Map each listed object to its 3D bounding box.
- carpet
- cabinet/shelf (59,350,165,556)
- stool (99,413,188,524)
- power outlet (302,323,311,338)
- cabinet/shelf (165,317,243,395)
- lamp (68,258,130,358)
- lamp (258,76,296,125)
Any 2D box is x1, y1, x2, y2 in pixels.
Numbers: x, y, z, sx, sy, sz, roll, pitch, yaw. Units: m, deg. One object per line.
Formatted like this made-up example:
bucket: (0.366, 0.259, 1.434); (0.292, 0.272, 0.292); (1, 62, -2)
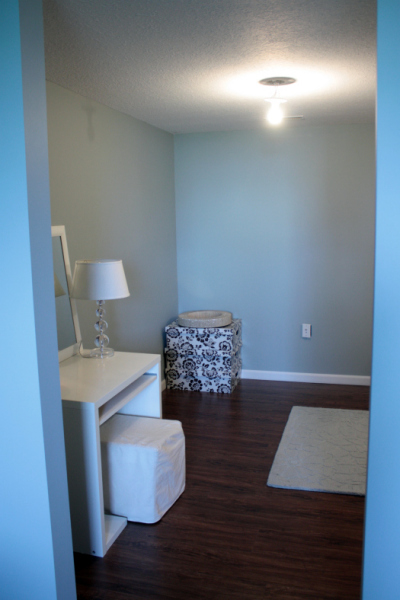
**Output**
carpet: (0.727, 0.917, 2.819); (0.400, 0.029, 0.768); (2, 9, 17)
cabinet/shelf: (-0.376, 0.668, 1.978); (0.315, 0.527, 0.656); (1, 11, 11)
stool: (-0.235, 0.755, 2.246); (0.353, 0.404, 0.386); (0, 7, 17)
power outlet: (0.947, 0.281, 4.198); (0.083, 0.146, 0.028); (1, 6, 11)
cabinet/shelf: (0.045, 0.436, 4.275); (0.553, 0.574, 0.602); (1, 7, 10)
lamp: (-0.515, 0.030, 2.417); (0.285, 0.493, 0.299); (-3, 12, -25)
lamp: (0.432, -1.154, 2.731); (0.179, 0.224, 0.187); (-9, 12, -17)
